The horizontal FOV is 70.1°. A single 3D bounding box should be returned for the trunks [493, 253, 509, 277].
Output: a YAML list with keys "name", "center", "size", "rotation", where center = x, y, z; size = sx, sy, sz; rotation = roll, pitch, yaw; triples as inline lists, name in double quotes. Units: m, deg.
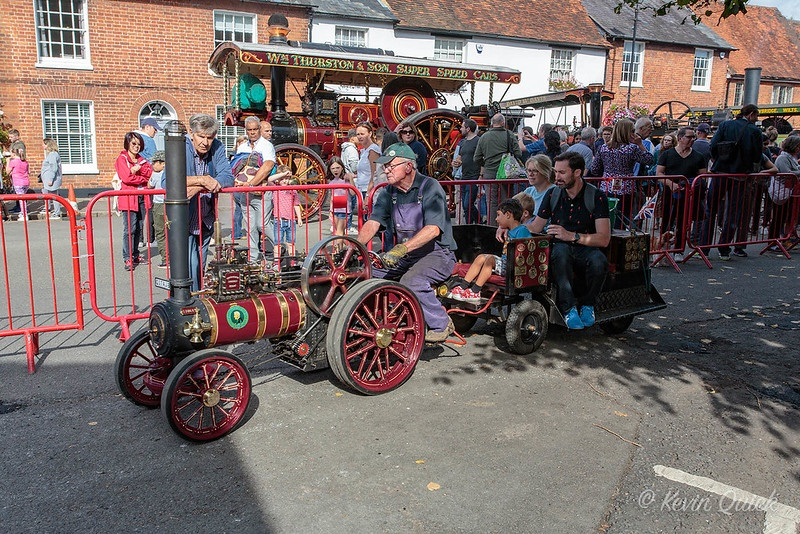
- name: "trunks"
  center: [1.027, -0.019, 5.866]
  size: [0.163, 0.278, 0.171]
  rotation: [-7, 13, -30]

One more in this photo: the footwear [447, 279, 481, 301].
- name: "footwear"
  center: [0.662, 0.255, 5.843]
  size: [0.279, 0.132, 0.207]
  rotation: [14, 3, -19]

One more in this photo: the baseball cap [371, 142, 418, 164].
- name: "baseball cap"
  center: [-0.029, -1.081, 5.457]
  size: [0.307, 0.162, 0.204]
  rotation: [0, 3, -16]

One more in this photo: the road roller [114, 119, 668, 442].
- name: "road roller"
  center: [0.263, 0.045, 5.828]
  size: [5.314, 1.989, 1.683]
  rotation: [-10, 6, -23]

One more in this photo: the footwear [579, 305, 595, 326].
- name: "footwear"
  center: [1.969, 0.516, 5.983]
  size: [0.110, 0.232, 0.097]
  rotation: [-2, -25, 23]

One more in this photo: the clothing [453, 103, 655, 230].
- name: "clothing"
  center: [3.249, -1.780, 10.113]
  size: [4.504, 2.521, 1.248]
  rotation: [-1, 9, -4]

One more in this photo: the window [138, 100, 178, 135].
- name: "window"
  center: [-8.117, -5.121, 19.114]
  size: [1.028, 1.188, 0.173]
  rotation: [-7, -30, -26]

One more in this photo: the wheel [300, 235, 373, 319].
- name: "wheel"
  center: [-0.554, 0.087, 4.976]
  size: [0.699, 0.703, 0.166]
  rotation: [-8, 14, -41]

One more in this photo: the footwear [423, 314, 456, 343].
- name: "footwear"
  center: [0.394, 0.624, 5.664]
  size: [0.151, 0.155, 0.364]
  rotation: [3, 12, 43]

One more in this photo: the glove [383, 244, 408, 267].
- name: "glove"
  center: [-0.041, -0.126, 5.068]
  size: [0.153, 0.096, 0.227]
  rotation: [31, 48, 26]

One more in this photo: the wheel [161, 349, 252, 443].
- name: "wheel"
  center: [-1.601, 0.956, 4.653]
  size: [0.672, 0.722, 0.642]
  rotation: [-2, 11, 0]

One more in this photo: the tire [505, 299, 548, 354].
- name: "tire"
  center: [1.314, 0.620, 5.927]
  size: [0.609, 0.614, 0.170]
  rotation: [-20, 22, -35]

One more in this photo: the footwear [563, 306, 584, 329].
- name: "footwear"
  center: [1.813, 0.545, 5.950]
  size: [0.115, 0.128, 0.315]
  rotation: [-10, 7, 1]

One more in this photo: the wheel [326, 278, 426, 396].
- name: "wheel"
  center: [-0.212, 0.634, 5.103]
  size: [0.277, 1.036, 1.020]
  rotation: [7, 14, 43]

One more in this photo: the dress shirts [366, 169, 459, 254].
- name: "dress shirts"
  center: [0.120, -0.561, 5.753]
  size: [0.923, 0.836, 0.567]
  rotation: [5, 23, 37]

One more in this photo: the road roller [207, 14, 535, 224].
- name: "road roller"
  center: [-0.837, -3.742, 14.770]
  size: [7.798, 4.204, 2.593]
  rotation: [-7, 17, -30]
